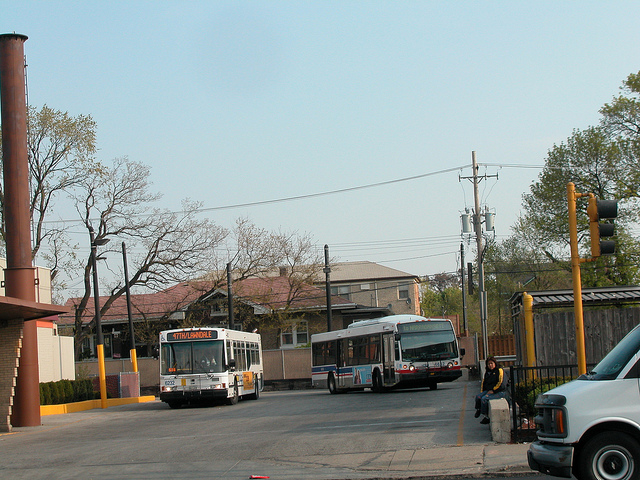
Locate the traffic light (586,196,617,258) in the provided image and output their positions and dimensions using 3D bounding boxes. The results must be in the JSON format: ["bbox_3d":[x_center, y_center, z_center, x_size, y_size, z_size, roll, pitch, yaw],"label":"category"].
[{"bbox_3d":[6.467,-0.308,17.735,0.618,1.512,0.439,-1,19,24],"label":"traffic light"}]

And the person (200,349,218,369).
[{"bbox_3d":[-4.812,5.181,33.580,0.530,0.938,0.726,2,-11,-15],"label":"person"}]

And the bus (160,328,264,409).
[{"bbox_3d":[-5.062,6.183,37.828,3.931,3.986,9.213,-5,-5,-2],"label":"bus"}]

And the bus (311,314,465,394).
[{"bbox_3d":[2.696,5.759,39.008,2.959,3.810,10.098,2,-10,-27],"label":"bus"}]
